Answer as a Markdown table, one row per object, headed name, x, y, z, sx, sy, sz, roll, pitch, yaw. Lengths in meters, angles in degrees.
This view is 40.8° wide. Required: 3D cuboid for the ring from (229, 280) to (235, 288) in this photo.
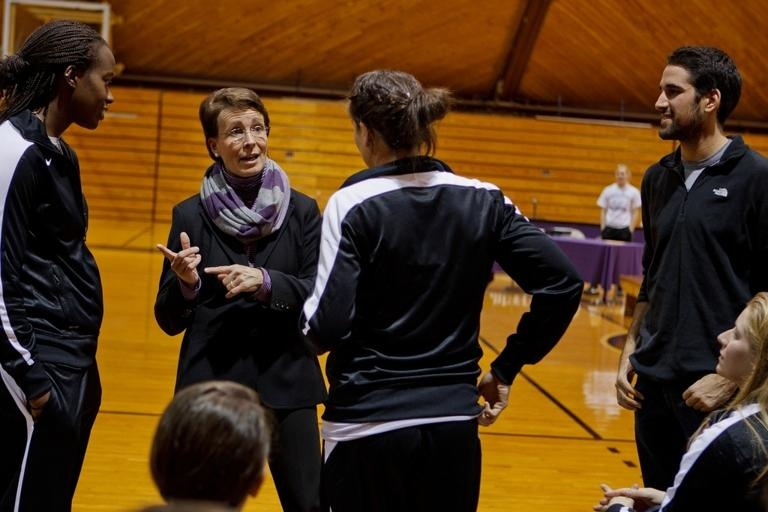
| name | x | y | z | sx | sy | sz | roll | pitch | yaw |
| --- | --- | --- | --- | --- | --- | --- | --- | --- | --- |
| ring | -0.689 | 0.127 | 4.610 | 0.033 | 0.029 | 0.015 | 6 | 12 | 13 |
